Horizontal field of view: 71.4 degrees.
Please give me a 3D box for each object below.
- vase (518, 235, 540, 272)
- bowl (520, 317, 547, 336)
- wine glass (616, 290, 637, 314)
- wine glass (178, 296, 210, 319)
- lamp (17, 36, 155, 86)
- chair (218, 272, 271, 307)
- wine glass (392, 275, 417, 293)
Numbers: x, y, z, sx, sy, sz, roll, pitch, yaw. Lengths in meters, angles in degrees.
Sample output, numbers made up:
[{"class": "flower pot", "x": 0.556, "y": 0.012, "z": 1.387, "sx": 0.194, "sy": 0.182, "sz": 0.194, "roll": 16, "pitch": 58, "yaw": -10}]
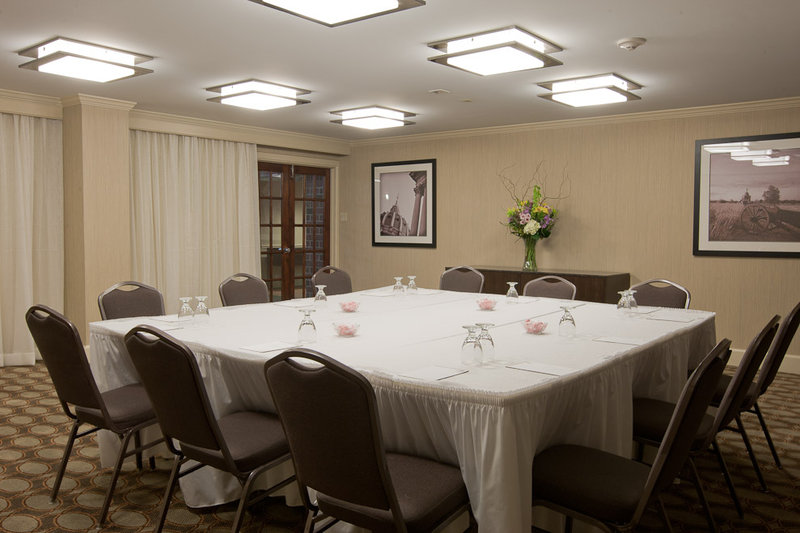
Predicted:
[{"class": "vase", "x": 1.778, "y": -0.178, "z": 7.570, "sx": 0.270, "sy": 0.530, "sz": 0.271, "roll": 2, "pitch": 6, "yaw": 31}, {"class": "bowl", "x": 0.977, "y": 0.426, "z": 3.986, "sx": 0.123, "sy": 0.071, "sz": 0.122, "roll": 1, "pitch": -1, "yaw": 0}, {"class": "wine glass", "x": 1.879, "y": 0.316, "z": 4.716, "sx": 0.206, "sy": 0.255, "sz": 0.215, "roll": -1, "pitch": -2, "yaw": 20}, {"class": "wine glass", "x": -1.882, "y": 0.370, "z": 5.067, "sx": 0.090, "sy": 0.163, "sz": 0.220, "roll": 0, "pitch": 0, "yaw": 30}, {"class": "lamp", "x": -2.941, "y": -1.893, "z": 5.094, "sx": 0.435, "sy": 0.122, "sz": 0.506, "roll": -9, "pitch": -11, "yaw": 32}, {"class": "chair", "x": -1.566, "y": 0.227, "z": 5.668, "sx": 0.357, "sy": 0.638, "sz": 0.399, "roll": -4, "pitch": 6, "yaw": -41}, {"class": "wine glass", "x": 0.066, "y": 0.215, "z": 6.733, "sx": 0.108, "sy": 0.153, "sz": 0.263, "roll": -1, "pitch": -1, "yaw": 42}]
